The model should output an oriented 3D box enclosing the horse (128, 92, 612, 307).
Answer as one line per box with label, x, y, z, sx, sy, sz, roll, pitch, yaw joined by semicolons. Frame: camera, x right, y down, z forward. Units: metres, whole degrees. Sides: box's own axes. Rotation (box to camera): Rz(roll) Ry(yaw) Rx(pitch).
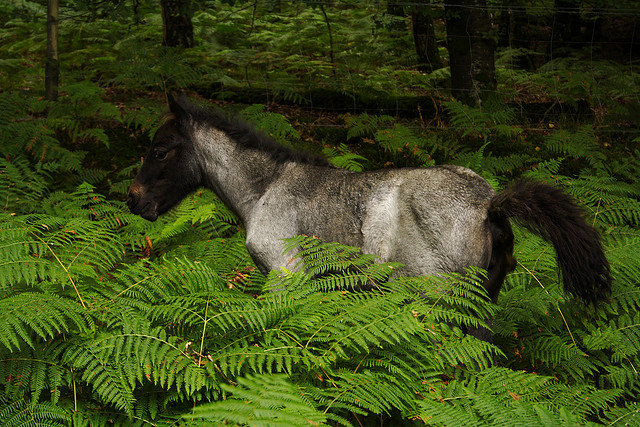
horse;0.579;0.356;10.252;7.525;3.599;1.765;7;19;26
